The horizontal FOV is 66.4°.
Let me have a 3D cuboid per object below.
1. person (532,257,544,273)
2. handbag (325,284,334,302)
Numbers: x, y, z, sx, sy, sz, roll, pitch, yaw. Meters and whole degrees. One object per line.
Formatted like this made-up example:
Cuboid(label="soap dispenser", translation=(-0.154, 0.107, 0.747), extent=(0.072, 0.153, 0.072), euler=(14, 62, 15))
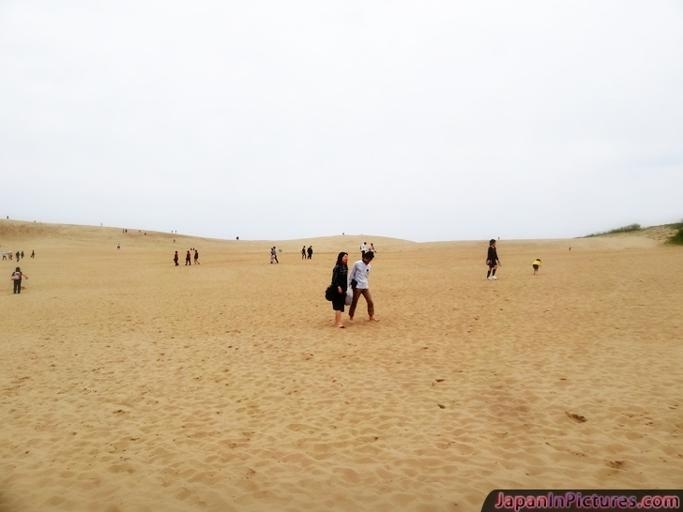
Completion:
Cuboid(label="person", translation=(10.763, 0.482, 28.490), extent=(0.265, 0.494, 1.137), euler=(13, 38, 36))
Cuboid(label="handbag", translation=(-0.319, 1.025, 14.696), extent=(0.177, 0.427, 0.319), euler=(-2, 8, 0))
